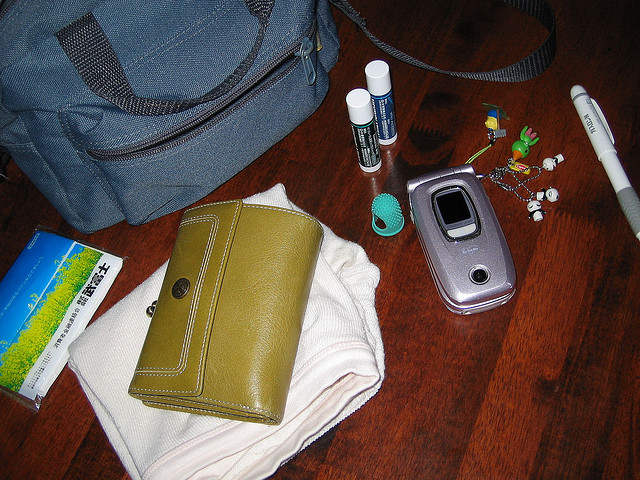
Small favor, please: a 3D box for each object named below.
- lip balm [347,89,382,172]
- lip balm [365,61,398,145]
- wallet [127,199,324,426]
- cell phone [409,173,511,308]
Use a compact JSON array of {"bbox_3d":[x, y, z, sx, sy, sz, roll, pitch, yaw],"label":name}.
[{"bbox_3d":[0.068,-0.163,0.820,0.050,0.110,0.061,-19,61,-18],"label":"lip balm"},{"bbox_3d":[0.095,-0.214,0.830,0.040,0.128,0.048,27,54,35],"label":"lip balm"},{"bbox_3d":[-0.124,0.087,0.724,0.206,0.053,0.299,10,72,11],"label":"wallet"},{"bbox_3d":[0.197,-0.027,0.777,0.108,0.227,0.044,-17,26,18],"label":"cell phone"}]
